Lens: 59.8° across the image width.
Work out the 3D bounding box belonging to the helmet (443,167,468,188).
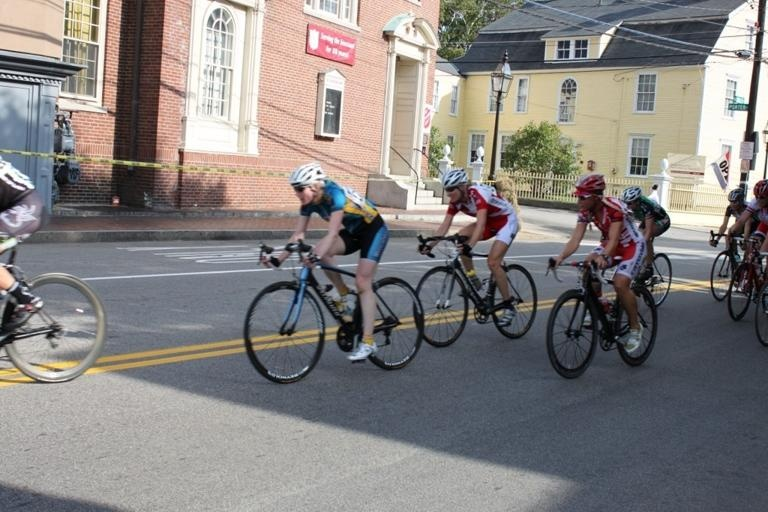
[{"bbox_3d":[0.947,-1.027,8.833,0.229,0.128,0.326,6,30,40],"label":"helmet"}]

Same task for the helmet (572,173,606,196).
[{"bbox_3d":[2.410,-0.824,7.940,0.383,0.198,0.253,1,13,-21],"label":"helmet"}]

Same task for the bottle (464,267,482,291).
[{"bbox_3d":[1.254,0.345,9.527,0.101,0.296,0.305,-18,32,28],"label":"bottle"}]

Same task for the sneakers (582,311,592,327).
[{"bbox_3d":[2.381,0.752,7.871,0.179,0.192,0.067,-4,13,-40],"label":"sneakers"}]

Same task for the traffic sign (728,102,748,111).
[{"bbox_3d":[14.799,-6.219,27.759,0.543,0.331,1.127,6,10,14],"label":"traffic sign"}]

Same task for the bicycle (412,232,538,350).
[{"bbox_3d":[1.207,0.446,9.211,2.199,1.444,0.590,-3,12,-34],"label":"bicycle"}]

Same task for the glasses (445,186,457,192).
[{"bbox_3d":[0.880,-0.873,8.862,0.068,0.051,0.092,-11,-1,-3],"label":"glasses"}]

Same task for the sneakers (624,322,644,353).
[{"bbox_3d":[3.109,1.057,8.410,0.161,0.444,0.179,22,-9,42],"label":"sneakers"}]

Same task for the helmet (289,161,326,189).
[{"bbox_3d":[-0.804,-0.821,7.001,0.343,0.165,0.238,-24,34,-37],"label":"helmet"}]

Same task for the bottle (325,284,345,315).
[{"bbox_3d":[-0.529,0.477,7.492,0.164,0.385,0.143,-26,13,12],"label":"bottle"}]
